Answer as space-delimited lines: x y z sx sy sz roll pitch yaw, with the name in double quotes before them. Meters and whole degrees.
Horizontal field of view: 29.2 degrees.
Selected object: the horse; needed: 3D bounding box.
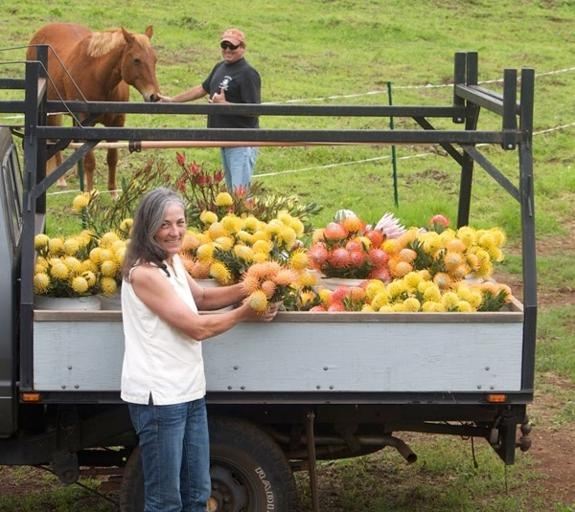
"horse" -2.390 -1.851 13.278 0.656 1.889 2.607 -11 22 -40
